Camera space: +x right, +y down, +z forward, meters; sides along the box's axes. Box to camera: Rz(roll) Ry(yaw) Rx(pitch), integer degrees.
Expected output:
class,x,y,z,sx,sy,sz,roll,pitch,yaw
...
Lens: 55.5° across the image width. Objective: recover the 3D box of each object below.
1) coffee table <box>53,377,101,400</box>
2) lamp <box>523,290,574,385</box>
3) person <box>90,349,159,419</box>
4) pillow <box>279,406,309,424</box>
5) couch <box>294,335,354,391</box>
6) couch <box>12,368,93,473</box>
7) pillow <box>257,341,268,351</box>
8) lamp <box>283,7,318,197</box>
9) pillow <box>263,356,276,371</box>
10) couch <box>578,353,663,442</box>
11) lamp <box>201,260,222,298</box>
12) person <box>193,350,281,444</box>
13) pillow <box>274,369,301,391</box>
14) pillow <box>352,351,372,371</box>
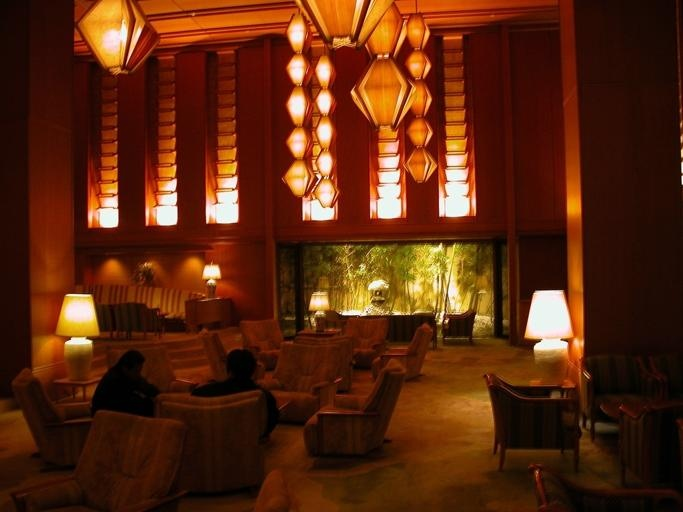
class,x,y,z,sx,sy,sz,roll,pitch,yaw
coffee table,-3.970,1.936,9.650,0.470,0.362,0.680,1,-2,7
lamp,2.782,1.071,8.589,0.600,1.218,0.596,-4,1,-30
person,-2.451,1.476,7.583,0.661,0.962,0.550,-4,32,-14
pillow,-0.643,2.132,8.779,0.330,0.271,0.200,3,9,17
couch,-0.316,1.624,10.848,0.962,1.335,0.878,0,1,21
couch,-3.497,1.950,7.881,1.079,1.312,0.921,2,0,-21
pillow,-1.473,1.676,12.156,0.142,0.168,0.062,4,-30,-19
lamp,-0.707,-2.643,11.295,0.553,3.212,0.953,2,6,-3
pillow,-1.315,1.961,11.957,0.267,0.326,0.294,-1,-7,0
couch,3.549,1.770,8.296,0.842,1.053,0.807,-1,-6,15
lamp,-3.318,0.616,16.502,0.492,0.848,0.977,1,7,-13
person,-1.189,1.496,7.544,0.938,1.527,1.065,-1,-3,-21
pillow,-0.786,1.770,9.325,0.285,0.327,0.118,-2,-20,10
pillow,0.415,1.980,12.409,0.461,0.385,0.298,1,5,14
